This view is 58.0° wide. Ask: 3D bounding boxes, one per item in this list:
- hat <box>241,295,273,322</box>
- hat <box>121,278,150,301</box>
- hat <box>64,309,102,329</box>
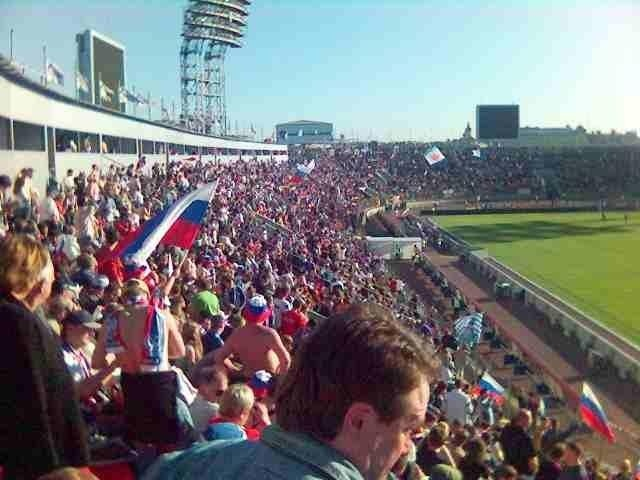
[{"bbox_3d":[-0.625,0.679,5.739,0.229,0.243,0.331,6,-2,-11],"label":"hat"},{"bbox_3d":[-1.488,0.395,4.627,0.171,0.190,0.159,-32,-13,16],"label":"hat"},{"bbox_3d":[-1.945,0.663,4.737,0.196,0.125,0.152,5,4,-18],"label":"hat"}]
